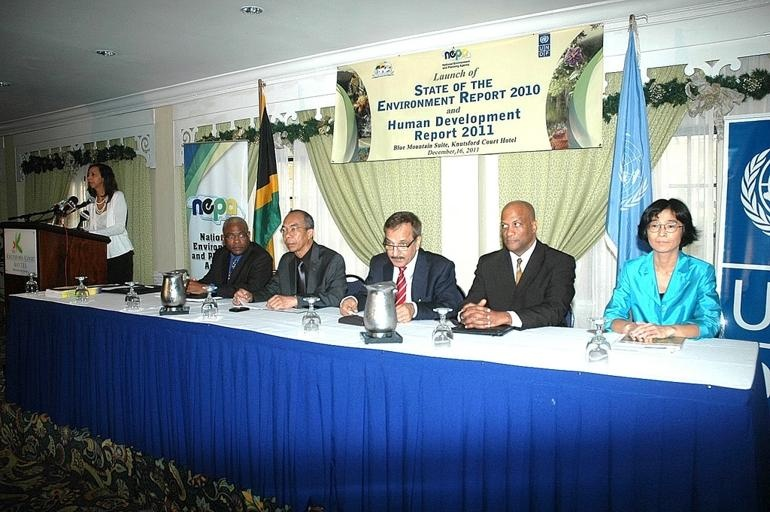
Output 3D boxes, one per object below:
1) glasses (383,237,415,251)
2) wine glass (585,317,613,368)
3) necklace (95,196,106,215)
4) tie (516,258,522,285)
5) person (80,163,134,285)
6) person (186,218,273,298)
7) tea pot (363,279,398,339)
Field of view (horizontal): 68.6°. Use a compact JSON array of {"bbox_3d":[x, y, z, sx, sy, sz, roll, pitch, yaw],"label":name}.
[{"bbox_3d":[0.114,-0.094,4.334,0.234,0.096,0.131,-2,1,-1],"label":"glasses"},{"bbox_3d":[1.239,0.461,3.287,0.133,0.236,0.371,-1,2,23],"label":"wine glass"},{"bbox_3d":[-3.567,-0.647,7.135,0.225,0.173,0.029,-1,2,31],"label":"necklace"},{"bbox_3d":[1.019,0.108,4.323,0.035,0.208,0.021,-6,-18,34],"label":"tie"},{"bbox_3d":[-3.553,-0.420,7.239,0.568,1.207,0.973,-2,2,-25],"label":"person"},{"bbox_3d":[-1.587,-0.009,5.913,0.616,1.221,0.667,-6,-13,15],"label":"person"},{"bbox_3d":[0.032,0.350,3.576,0.299,0.362,0.242,1,-7,2],"label":"tea pot"}]
